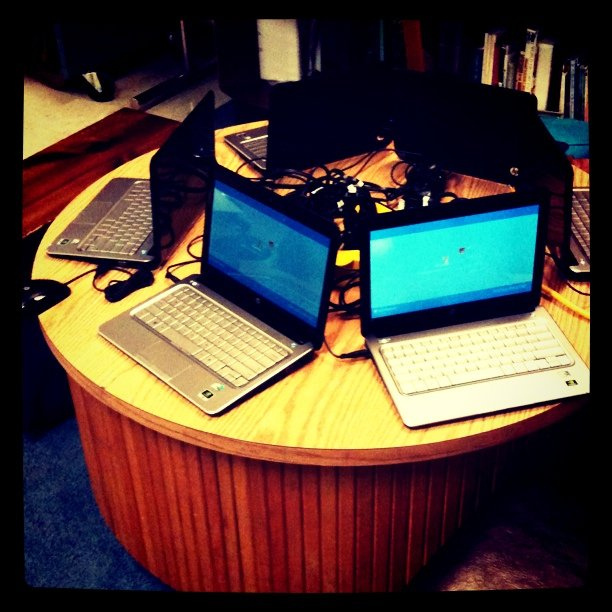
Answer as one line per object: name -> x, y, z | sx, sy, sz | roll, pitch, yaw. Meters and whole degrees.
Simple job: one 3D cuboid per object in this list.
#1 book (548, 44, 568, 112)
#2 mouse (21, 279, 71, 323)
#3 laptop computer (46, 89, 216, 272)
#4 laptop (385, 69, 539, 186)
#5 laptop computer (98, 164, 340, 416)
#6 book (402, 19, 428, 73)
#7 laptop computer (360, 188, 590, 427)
book -> 1.119, -1.013, 2.561 | 0.056, 0.267, 0.055 | 2, 39, 16
mouse -> -0.501, -0.007, 1.103 | 0.083, 0.020, 0.084 | -7, 38, -9
laptop computer -> -0.420, -0.313, 1.338 | 0.285, 0.260, 0.390 | 8, 39, 1
laptop -> 0.401, -0.454, 1.459 | 0.436, 0.250, 0.092 | 22, 37, 33
laptop computer -> -0.164, -0.043, 0.982 | 0.309, 0.246, 0.350 | -28, 45, -34
book -> 0.393, -0.938, 2.063 | 0.016, 0.167, 0.094 | 4, 20, 33
laptop computer -> 0.269, -0.002, 0.906 | 0.343, 0.236, 0.264 | -8, 39, 2
